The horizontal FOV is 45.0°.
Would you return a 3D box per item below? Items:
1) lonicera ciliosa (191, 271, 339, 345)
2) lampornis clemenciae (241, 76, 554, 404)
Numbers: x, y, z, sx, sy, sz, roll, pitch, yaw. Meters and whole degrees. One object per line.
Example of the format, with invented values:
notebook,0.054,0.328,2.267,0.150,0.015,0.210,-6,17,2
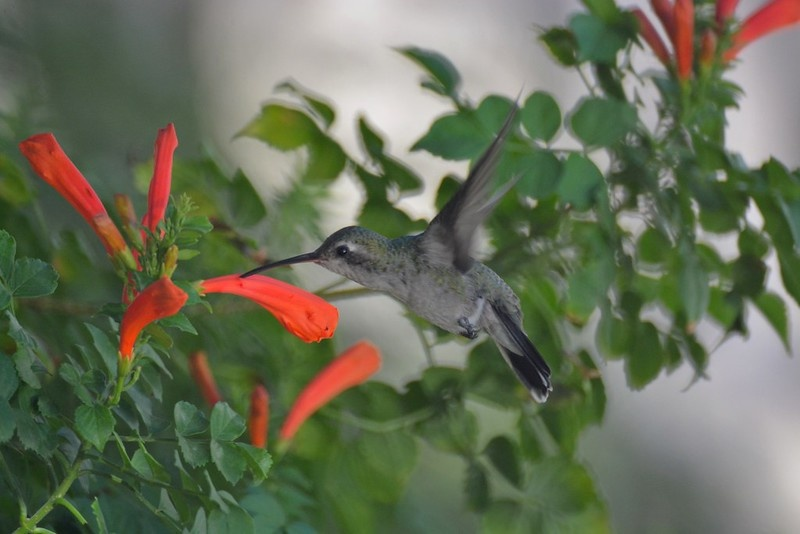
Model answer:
lonicera ciliosa,-0.120,0.035,0.909,0.125,0.061,0.118,24,-1,-2
lampornis clemenciae,0.008,-0.001,0.915,0.320,0.163,0.307,1,13,-7
